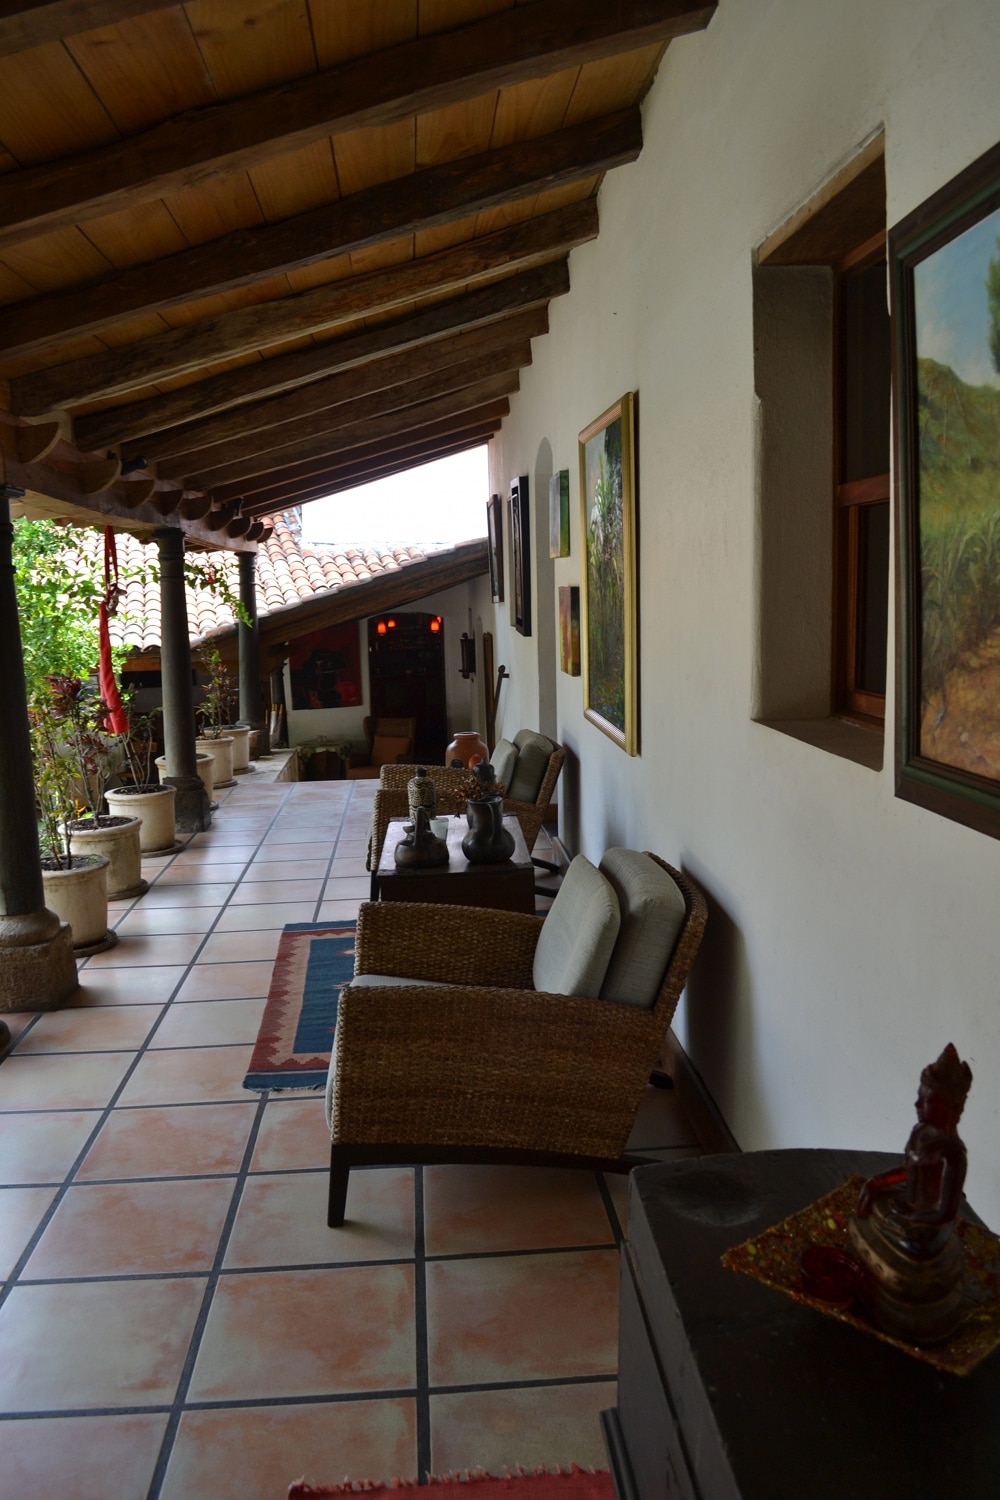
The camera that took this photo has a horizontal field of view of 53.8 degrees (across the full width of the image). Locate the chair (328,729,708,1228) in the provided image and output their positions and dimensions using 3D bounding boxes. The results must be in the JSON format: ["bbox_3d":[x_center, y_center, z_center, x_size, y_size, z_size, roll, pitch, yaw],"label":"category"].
[{"bbox_3d":[0.033,0.683,2.776,0.933,0.991,0.769,-1,1,-2],"label":"chair"}]

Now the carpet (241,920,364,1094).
[{"bbox_3d":[-0.777,0.795,3.829,0.358,0.012,1.367,0,16,-6],"label":"carpet"}]
